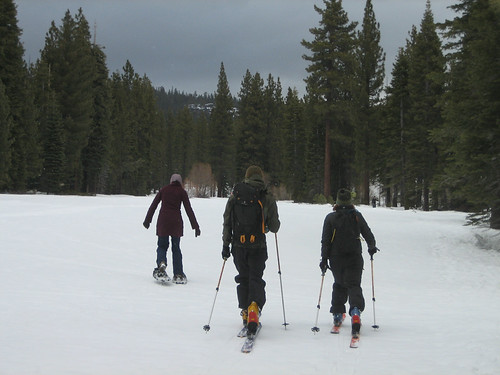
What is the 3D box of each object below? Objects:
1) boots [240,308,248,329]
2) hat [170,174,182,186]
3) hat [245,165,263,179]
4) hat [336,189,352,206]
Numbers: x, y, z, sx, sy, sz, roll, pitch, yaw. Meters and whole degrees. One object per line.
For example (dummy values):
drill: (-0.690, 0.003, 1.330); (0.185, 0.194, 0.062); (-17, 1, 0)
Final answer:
boots: (-0.180, 3.865, 18.645); (0.164, 0.535, 0.229); (0, 16, 2)
hat: (-2.531, -0.244, 21.540); (0.294, 0.381, 0.359); (3, -4, 2)
hat: (0.122, -0.447, 19.034); (0.318, 0.465, 0.445); (1, 1, 1)
hat: (2.876, 0.300, 19.236); (0.403, 0.518, 0.487); (1, 10, -5)
